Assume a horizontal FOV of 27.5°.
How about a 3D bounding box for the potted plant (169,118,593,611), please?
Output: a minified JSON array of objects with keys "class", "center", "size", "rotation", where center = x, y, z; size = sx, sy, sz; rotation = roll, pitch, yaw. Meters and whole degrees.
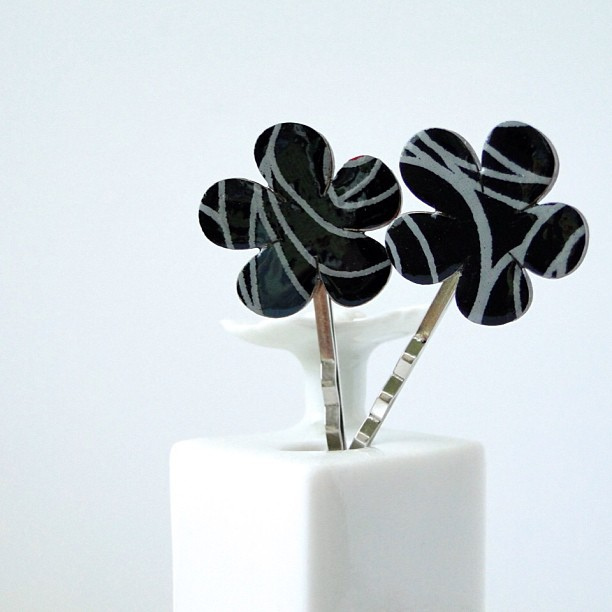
[{"class":"potted plant","center":[0.089,0.097,1.760],"size":[0.535,0.707,0.247],"rotation":[3,-2,-8]}]
